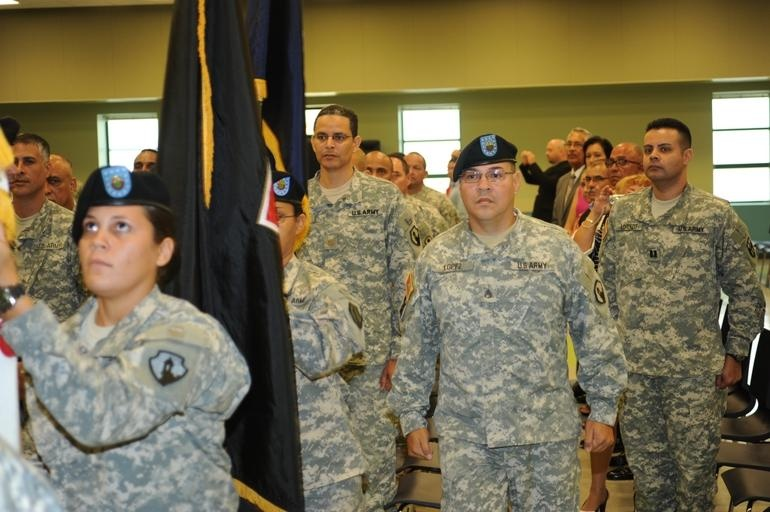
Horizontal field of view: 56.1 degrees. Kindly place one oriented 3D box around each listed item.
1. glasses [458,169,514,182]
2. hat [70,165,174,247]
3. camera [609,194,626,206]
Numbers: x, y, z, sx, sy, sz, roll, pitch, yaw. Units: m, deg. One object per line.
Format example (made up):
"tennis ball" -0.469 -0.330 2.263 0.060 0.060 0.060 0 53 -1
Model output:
"glasses" 0.496 -0.390 3.533 0.249 0.072 0.076 0 -1 5
"hat" -0.868 -0.161 2.360 0.235 0.133 0.310 -3 -2 0
"camera" 1.593 -0.396 4.953 0.135 0.093 0.131 0 -2 6
